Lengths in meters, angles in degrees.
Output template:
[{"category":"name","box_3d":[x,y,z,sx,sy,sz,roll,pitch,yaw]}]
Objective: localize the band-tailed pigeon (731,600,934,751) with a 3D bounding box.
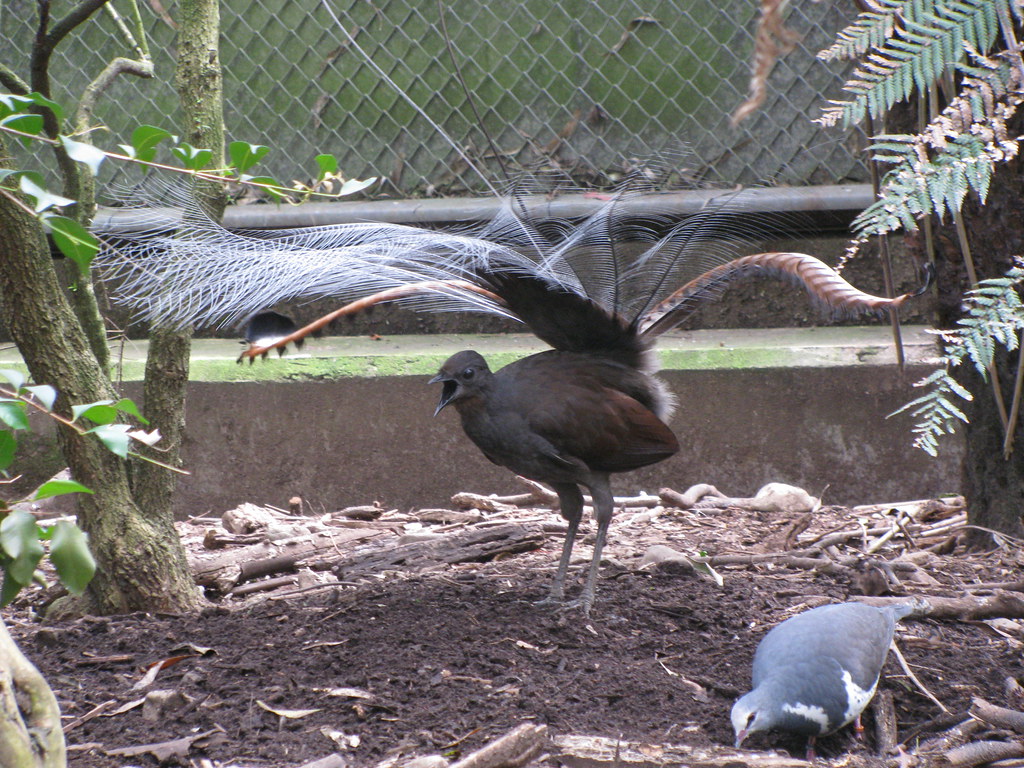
[{"category":"band-tailed pigeon","box_3d":[1.033,0.940,4.301,0.716,0.351,1.065,-1,7,10]}]
